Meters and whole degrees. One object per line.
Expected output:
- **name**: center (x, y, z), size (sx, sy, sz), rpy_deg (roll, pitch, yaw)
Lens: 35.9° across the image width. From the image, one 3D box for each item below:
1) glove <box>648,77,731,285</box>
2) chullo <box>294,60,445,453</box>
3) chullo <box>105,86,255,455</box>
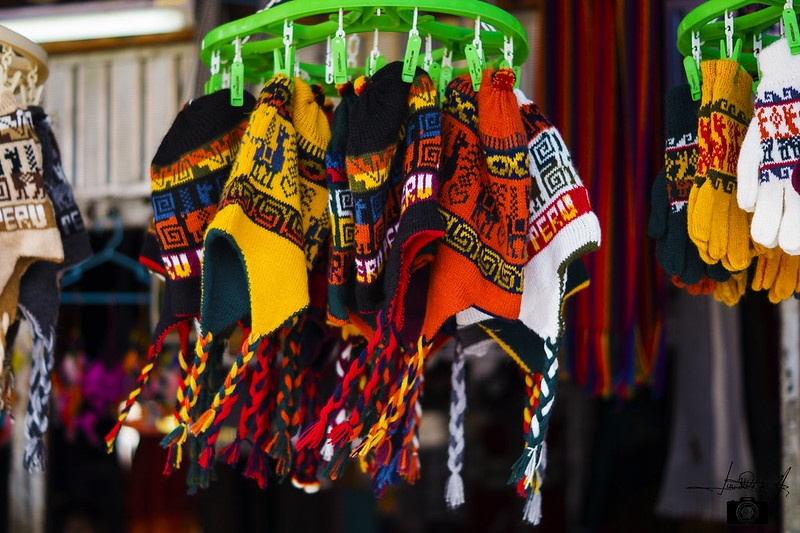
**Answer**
- **glove**: center (0.644, -0.191, 2.888), size (0.097, 0.446, 0.239), rpy_deg (-2, -7, -17)
- **chullo**: center (-0.071, -0.030, 2.805), size (0.335, 0.878, 0.130), rpy_deg (-1, -3, -2)
- **chullo**: center (-0.471, 0.024, 2.916), size (0.264, 0.956, 0.138), rpy_deg (-5, -18, 44)
